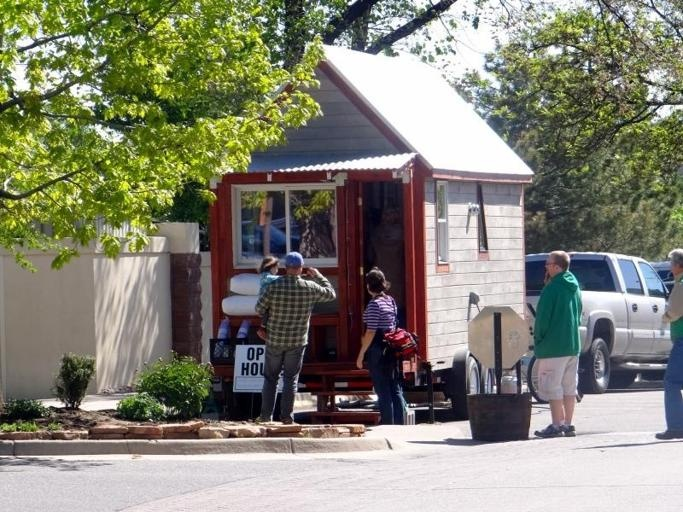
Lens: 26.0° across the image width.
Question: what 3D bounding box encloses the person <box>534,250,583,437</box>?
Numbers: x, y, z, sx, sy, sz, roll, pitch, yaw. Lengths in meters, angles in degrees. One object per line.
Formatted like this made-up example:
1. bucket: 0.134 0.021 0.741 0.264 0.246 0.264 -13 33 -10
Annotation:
1. person: 3.173 1.286 21.876 0.722 2.730 0.624 3 -8 -16

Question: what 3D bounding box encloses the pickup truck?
1. pickup truck: 4.800 1.156 28.425 1.791 1.778 3.754 0 5 45

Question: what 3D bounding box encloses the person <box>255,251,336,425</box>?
1. person: -0.733 1.230 22.409 1.090 2.578 1.285 1 -8 -1

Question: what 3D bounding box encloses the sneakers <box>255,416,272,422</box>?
1. sneakers: -1.170 2.413 22.079 0.241 0.102 0.088 4 -3 -3

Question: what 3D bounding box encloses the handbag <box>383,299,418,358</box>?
1. handbag: 0.946 1.304 22.924 0.561 0.540 0.401 -14 -3 -6

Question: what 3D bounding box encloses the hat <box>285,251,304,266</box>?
1. hat: -0.701 0.054 22.164 0.190 0.146 0.256 3 14 9
